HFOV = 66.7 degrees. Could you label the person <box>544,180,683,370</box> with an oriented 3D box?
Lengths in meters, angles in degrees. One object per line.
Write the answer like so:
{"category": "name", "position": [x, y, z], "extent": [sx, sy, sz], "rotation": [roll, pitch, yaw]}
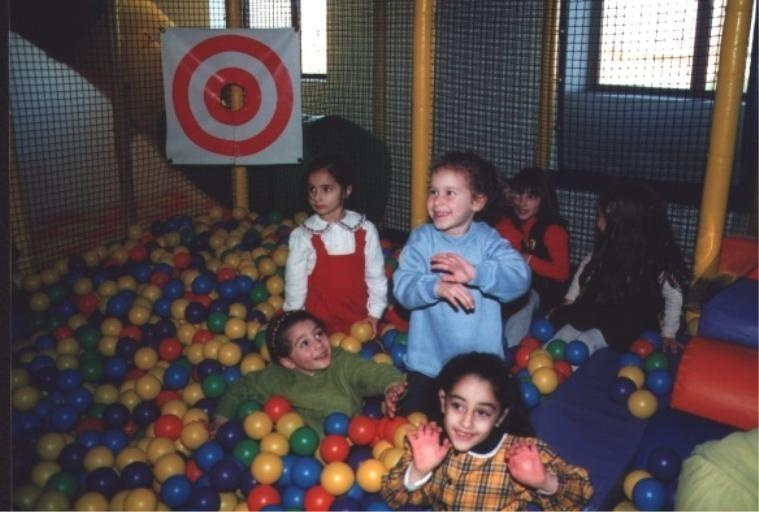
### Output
{"category": "person", "position": [1.822, 0.038, 4.550], "extent": [0.990, 1.372, 0.930], "rotation": [-1, 44, 35]}
